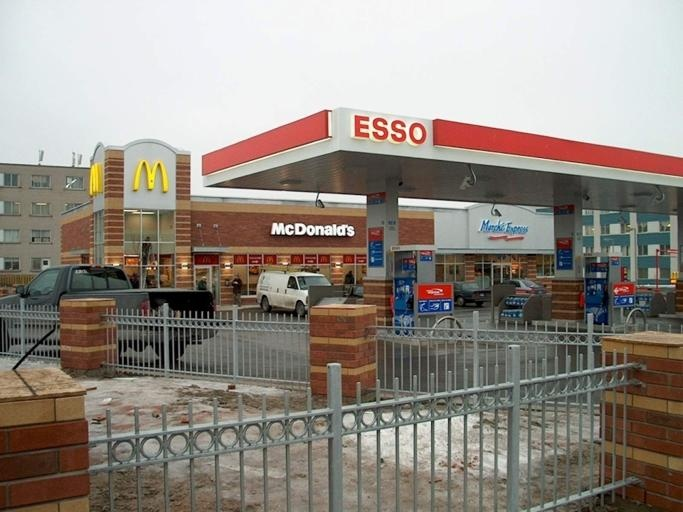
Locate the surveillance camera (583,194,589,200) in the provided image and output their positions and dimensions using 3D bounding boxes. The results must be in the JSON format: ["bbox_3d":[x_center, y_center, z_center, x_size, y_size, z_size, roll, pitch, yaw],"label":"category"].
[{"bbox_3d":[9.328,-2.224,24.693,0.233,0.348,0.247,3,14,26],"label":"surveillance camera"}]

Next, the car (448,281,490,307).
[{"bbox_3d":[7.191,2.226,35.975,1.302,1.085,3.139,-2,4,-26],"label":"car"}]

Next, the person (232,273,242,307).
[{"bbox_3d":[-5.612,1.795,34.694,0.541,1.594,1.768,0,1,-10],"label":"person"}]

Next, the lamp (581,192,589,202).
[{"bbox_3d":[9.264,-2.260,24.527,0.307,0.111,0.435,0,-17,5],"label":"lamp"}]

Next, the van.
[{"bbox_3d":[-2.199,1.623,29.746,1.817,1.519,3.148,2,-3,-35],"label":"van"}]

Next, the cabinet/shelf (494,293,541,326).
[{"bbox_3d":[6.453,1.974,23.657,0.736,0.982,1.289,5,-6,-32],"label":"cabinet/shelf"}]

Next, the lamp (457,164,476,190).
[{"bbox_3d":[3.569,-2.292,18.542,0.225,0.617,0.500,-3,3,-26],"label":"lamp"}]

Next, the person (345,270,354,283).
[{"bbox_3d":[0.435,1.220,38.052,0.488,0.908,0.332,-7,-26,36],"label":"person"}]
